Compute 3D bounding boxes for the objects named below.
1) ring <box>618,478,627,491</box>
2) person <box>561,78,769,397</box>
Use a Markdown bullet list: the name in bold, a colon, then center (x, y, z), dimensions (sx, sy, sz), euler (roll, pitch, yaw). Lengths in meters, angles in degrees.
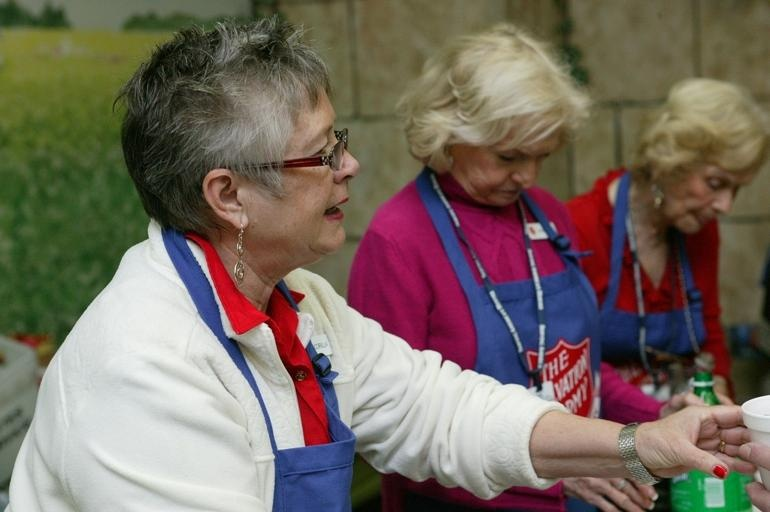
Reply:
- **ring**: center (0.831, 0.797, 4.255), dimensions (0.028, 0.029, 0.029), euler (-29, -11, -6)
- **person**: center (0.998, -0.097, 4.470), dimensions (0.683, 1.331, 0.792), euler (-19, 25, -40)
